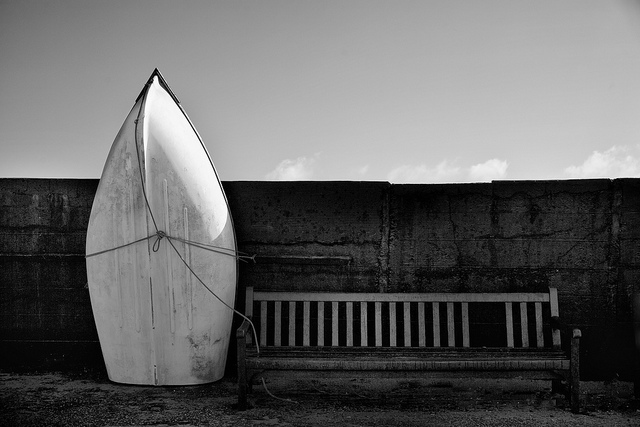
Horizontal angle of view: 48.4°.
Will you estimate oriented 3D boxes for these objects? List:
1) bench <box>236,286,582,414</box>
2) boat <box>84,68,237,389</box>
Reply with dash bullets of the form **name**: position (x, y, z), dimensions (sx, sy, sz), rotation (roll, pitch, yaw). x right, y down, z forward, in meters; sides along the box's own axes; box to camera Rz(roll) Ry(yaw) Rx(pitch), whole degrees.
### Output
- **bench**: position (0.886, 1.294, 7.137), dimensions (3.309, 1.100, 1.051), rotation (1, 14, 0)
- **boat**: position (-1.528, 0.412, 7.763), dimensions (1.745, 3.871, 1.152), rotation (-2, 3, 7)
